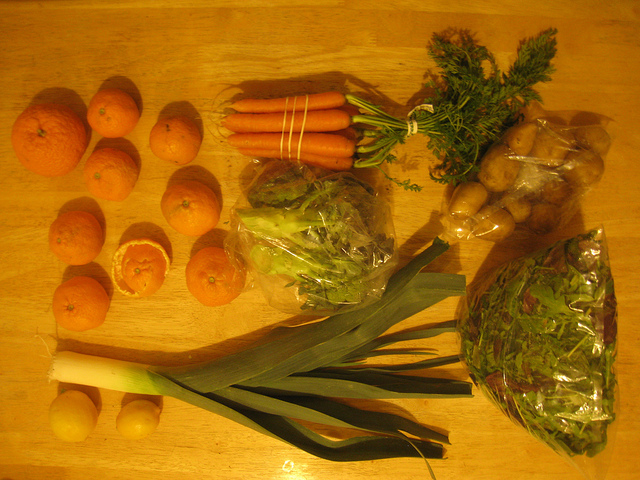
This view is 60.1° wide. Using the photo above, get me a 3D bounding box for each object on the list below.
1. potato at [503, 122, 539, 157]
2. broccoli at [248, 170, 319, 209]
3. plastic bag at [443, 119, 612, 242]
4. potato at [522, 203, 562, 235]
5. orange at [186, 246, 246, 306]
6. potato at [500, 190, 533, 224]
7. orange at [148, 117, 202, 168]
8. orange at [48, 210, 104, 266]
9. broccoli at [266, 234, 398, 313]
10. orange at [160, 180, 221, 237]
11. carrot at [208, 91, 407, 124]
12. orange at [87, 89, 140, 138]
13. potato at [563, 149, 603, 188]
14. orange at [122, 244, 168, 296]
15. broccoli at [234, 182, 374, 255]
[{"bbox_3d":[0.698,-0.341,1.925,0.125,0.113,0.050,-19,-2,5],"label":"potato"},{"bbox_3d":[-0.132,-0.184,1.893,0.295,0.067,0.160,-14,-1,7],"label":"broccoli"},{"bbox_3d":[0.729,-0.207,2.029,0.595,0.363,0.183,-41,3,15],"label":"plastic bag"},{"bbox_3d":[0.771,-0.070,1.902,0.129,0.091,0.046,5,2,6],"label":"potato"},{"bbox_3d":[-0.339,0.138,1.924,0.239,0.168,0.129,-19,-11,33],"label":"orange"},{"bbox_3d":[0.675,-0.113,1.938,0.116,0.100,0.072,-16,-4,8],"label":"potato"},{"bbox_3d":[-0.493,-0.329,1.894,0.242,0.148,0.110,-1,8,-5],"label":"orange"},{"bbox_3d":[-0.837,-0.011,1.905,0.255,0.169,0.092,12,8,-12],"label":"orange"},{"bbox_3d":[0.049,0.120,1.703,0.489,0.114,0.383,-3,11,-14],"label":"broccoli"},{"bbox_3d":[-0.433,-0.107,1.973,0.257,0.166,0.197,-13,-6,-9],"label":"orange"},{"bbox_3d":[-0.039,-0.468,1.953,0.707,0.091,0.118,5,2,4],"label":"carrot"},{"bbox_3d":[-0.709,-0.440,1.921,0.142,0.123,0.096,5,4,-45],"label":"orange"},{"bbox_3d":[0.880,-0.238,1.933,0.167,0.110,0.143,-9,-4,18],"label":"potato"},{"bbox_3d":[-0.611,0.107,1.927,0.155,0.136,0.122,7,3,-15],"label":"orange"},{"bbox_3d":[0.052,-0.013,1.860,0.519,0.140,0.285,-13,-34,22],"label":"broccoli"}]
